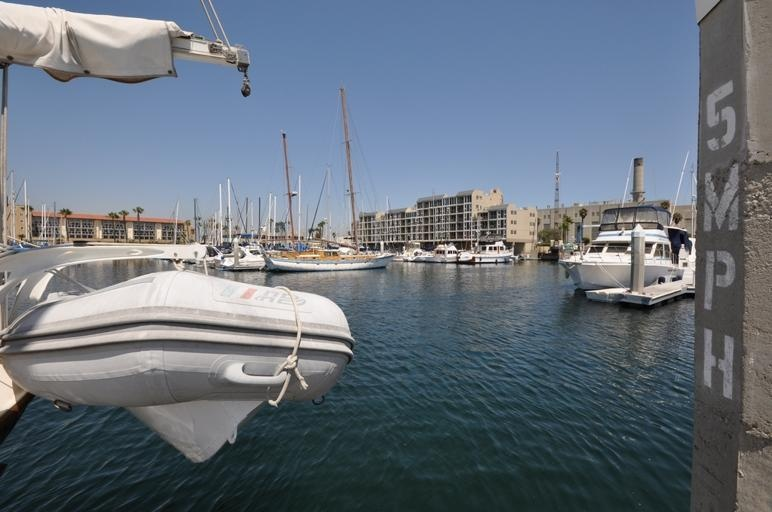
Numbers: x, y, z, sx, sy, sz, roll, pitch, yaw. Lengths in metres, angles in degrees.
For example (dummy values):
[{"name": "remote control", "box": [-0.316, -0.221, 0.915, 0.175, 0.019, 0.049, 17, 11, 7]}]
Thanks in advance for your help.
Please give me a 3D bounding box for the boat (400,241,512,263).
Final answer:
[{"name": "boat", "box": [8.450, -0.278, 60.673, 10.724, 2.184, 6.605, 1, 0, 8]}]
